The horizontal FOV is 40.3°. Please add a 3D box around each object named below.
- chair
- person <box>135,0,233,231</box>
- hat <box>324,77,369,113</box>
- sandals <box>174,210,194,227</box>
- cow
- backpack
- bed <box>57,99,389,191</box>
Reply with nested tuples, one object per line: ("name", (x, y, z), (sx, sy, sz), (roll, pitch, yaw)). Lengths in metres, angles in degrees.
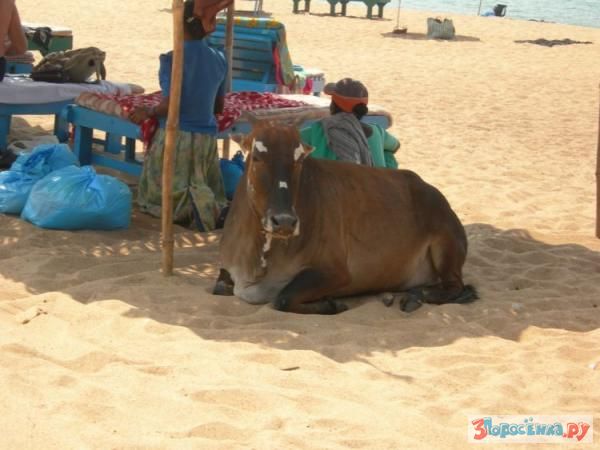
("chair", (-0.358, -2.776, 13.152), (1.566, 0.949, 1.923), (12, 19, 34))
("person", (-1.167, -1.112, 8.320), (0.925, 2.310, 0.862), (2, 20, -9))
("hat", (0.411, -1.218, 7.616), (0.445, 0.304, 0.283), (8, 18, 17))
("sandals", (-1.204, -0.070, 8.511), (0.167, 0.157, 0.174), (10, 13, 27))
("cow", (0.377, -0.101, 6.581), (1.968, 1.599, 1.015), (-7, 21, -30))
("backpack", (-3.044, -2.044, 10.514), (0.919, 0.302, 0.641), (4, 7, 30))
("bed", (-1.178, -1.159, 9.913), (1.664, 0.520, 2.674), (19, 22, 38))
